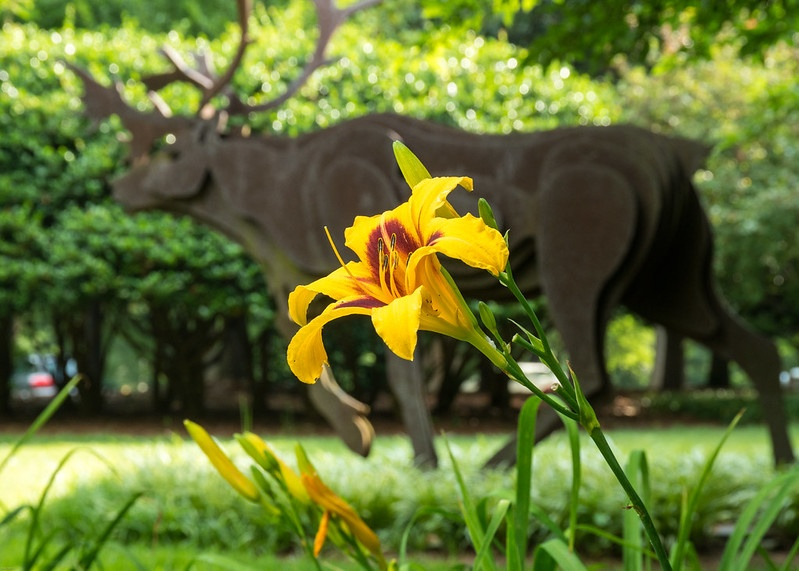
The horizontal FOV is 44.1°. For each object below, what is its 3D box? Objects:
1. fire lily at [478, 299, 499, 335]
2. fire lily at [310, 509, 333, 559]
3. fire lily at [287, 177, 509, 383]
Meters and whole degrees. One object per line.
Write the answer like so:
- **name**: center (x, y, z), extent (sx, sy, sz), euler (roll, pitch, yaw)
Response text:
- **fire lily**: center (0.417, 0.154, 4.629), extent (0.033, 0.057, 0.210), euler (5, -37, 24)
- **fire lily**: center (-0.372, 1.199, 4.731), extent (0.057, 0.275, 0.066), euler (14, -13, -24)
- **fire lily**: center (-0.025, -0.032, 4.762), extent (1.081, 1.006, 0.276), euler (-1, -3, 21)
